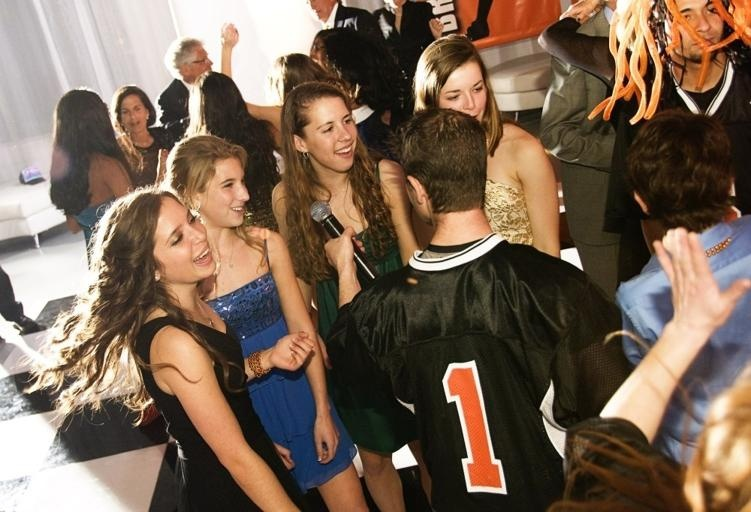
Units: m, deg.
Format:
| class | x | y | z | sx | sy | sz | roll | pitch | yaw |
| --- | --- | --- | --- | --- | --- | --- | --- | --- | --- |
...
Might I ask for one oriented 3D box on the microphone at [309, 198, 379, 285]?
| class | x | y | z | sx | sy | sz | roll | pitch | yaw |
| --- | --- | --- | --- | --- | --- | --- | --- | --- | --- |
| microphone | -0.138 | -0.064 | 2.742 | 0.091 | 0.424 | 0.071 | -27 | -10 | -8 |
